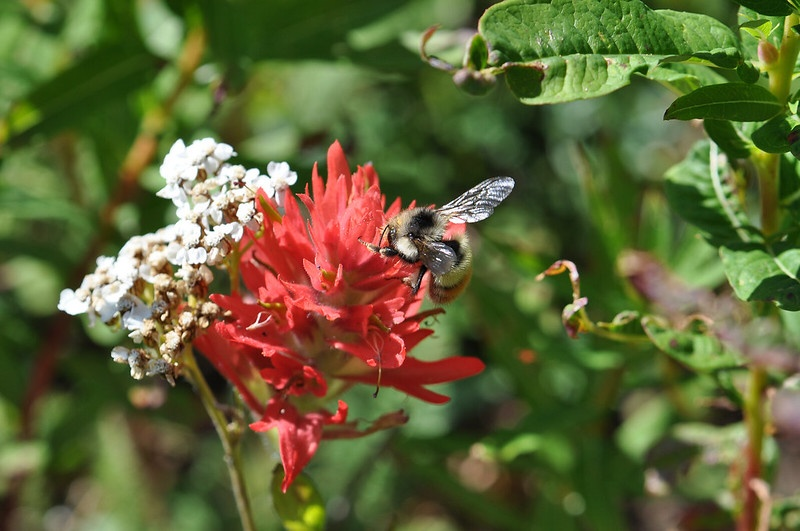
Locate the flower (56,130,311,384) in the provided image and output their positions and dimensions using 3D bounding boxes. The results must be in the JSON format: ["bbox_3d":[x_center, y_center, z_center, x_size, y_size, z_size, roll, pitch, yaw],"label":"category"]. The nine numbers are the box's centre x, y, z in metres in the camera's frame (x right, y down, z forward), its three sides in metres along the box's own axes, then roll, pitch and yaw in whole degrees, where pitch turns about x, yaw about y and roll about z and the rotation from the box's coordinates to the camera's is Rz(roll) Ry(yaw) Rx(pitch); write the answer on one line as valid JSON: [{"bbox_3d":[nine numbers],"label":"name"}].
[{"bbox_3d":[-0.531,-0.020,2.035,0.569,0.193,0.609,-10,70,19],"label":"flower"}]

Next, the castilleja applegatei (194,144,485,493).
[{"bbox_3d":[-0.178,0.158,2.024,0.543,0.788,0.515,-22,32,-27],"label":"castilleja applegatei"}]

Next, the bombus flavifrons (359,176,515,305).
[{"bbox_3d":[0.100,-0.073,2.157,0.358,0.138,0.300,24,60,29],"label":"bombus flavifrons"}]
